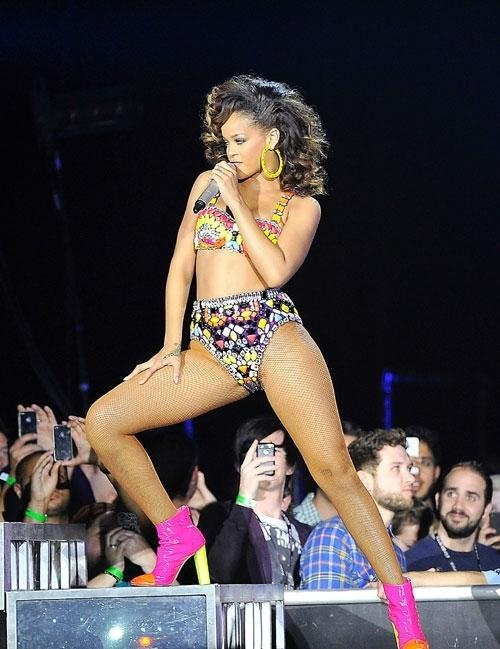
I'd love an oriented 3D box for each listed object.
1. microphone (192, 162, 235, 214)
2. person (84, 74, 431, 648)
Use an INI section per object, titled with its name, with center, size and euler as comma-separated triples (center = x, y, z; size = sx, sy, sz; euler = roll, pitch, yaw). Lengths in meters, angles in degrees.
[microphone]
center = -0.085, -0.327, 1.724
size = 0.033, 0.120, 0.034
euler = 38, -2, 6
[person]
center = -0.061, 0.023, 1.698
size = 0.675, 1.411, 0.435
euler = -6, -5, -5
